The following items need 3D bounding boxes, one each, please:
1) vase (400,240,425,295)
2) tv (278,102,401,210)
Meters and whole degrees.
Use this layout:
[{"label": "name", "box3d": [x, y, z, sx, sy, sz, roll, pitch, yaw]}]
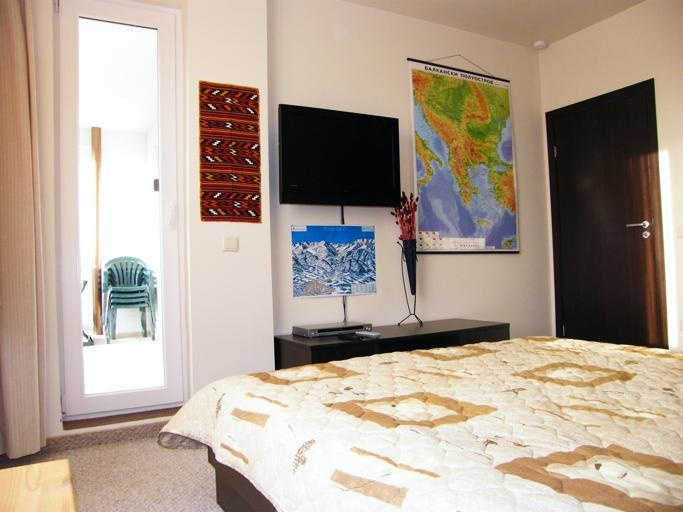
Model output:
[{"label": "vase", "box3d": [0.579, 0.102, 3.901, 0.131, 0.504, 0.288, -2, 6, 8]}, {"label": "tv", "box3d": [-0.041, -0.744, 3.531, 0.940, 0.618, 0.094, -1, 3, -25]}]
